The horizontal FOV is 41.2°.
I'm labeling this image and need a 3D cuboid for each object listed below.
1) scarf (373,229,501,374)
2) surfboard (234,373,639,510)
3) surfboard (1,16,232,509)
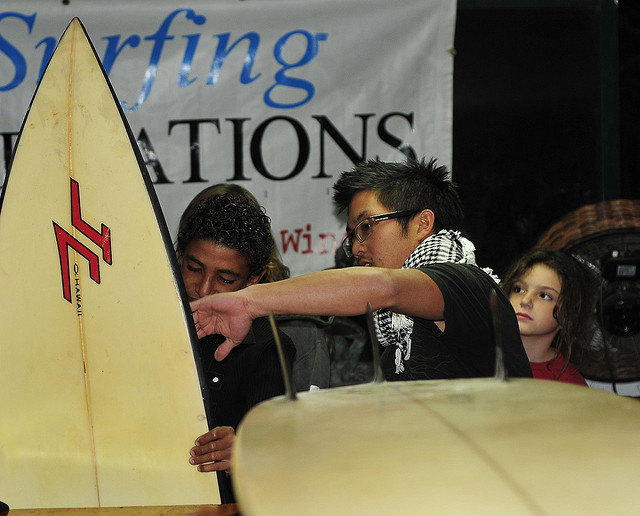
[{"bbox_3d":[0.302,0.077,2.493,0.332,0.487,0.200,-5,-15,20],"label":"scarf"},{"bbox_3d":[0.245,0.368,1.686,0.829,0.266,0.231,-2,-5,-7],"label":"surfboard"},{"bbox_3d":[-0.588,0.135,2.201,0.365,1.483,0.126,-9,-6,10],"label":"surfboard"}]
